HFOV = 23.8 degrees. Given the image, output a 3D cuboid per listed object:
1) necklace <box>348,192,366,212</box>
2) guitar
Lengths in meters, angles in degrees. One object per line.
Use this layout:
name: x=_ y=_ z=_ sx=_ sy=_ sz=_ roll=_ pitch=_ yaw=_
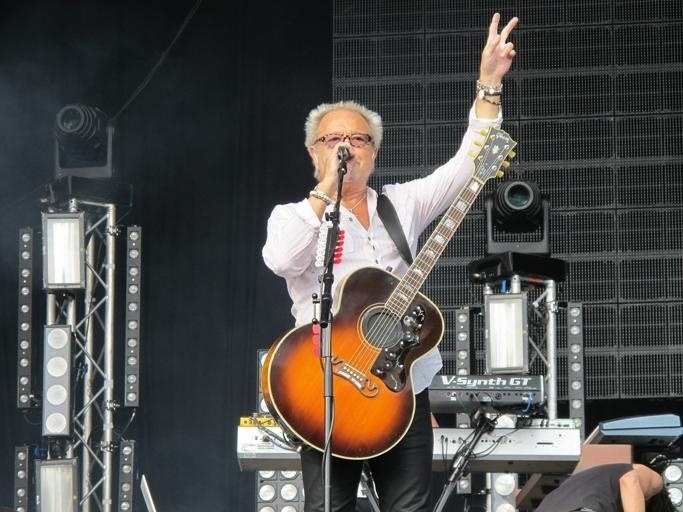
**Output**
necklace: x=0.113 y=-0.378 z=11.178 sx=0.104 sy=0.147 sz=0.035 roll=38 pitch=-4 yaw=-2
guitar: x=0.253 y=0.243 z=11.084 sx=1.563 sy=2.296 sz=0.200 roll=1 pitch=-7 yaw=-4
